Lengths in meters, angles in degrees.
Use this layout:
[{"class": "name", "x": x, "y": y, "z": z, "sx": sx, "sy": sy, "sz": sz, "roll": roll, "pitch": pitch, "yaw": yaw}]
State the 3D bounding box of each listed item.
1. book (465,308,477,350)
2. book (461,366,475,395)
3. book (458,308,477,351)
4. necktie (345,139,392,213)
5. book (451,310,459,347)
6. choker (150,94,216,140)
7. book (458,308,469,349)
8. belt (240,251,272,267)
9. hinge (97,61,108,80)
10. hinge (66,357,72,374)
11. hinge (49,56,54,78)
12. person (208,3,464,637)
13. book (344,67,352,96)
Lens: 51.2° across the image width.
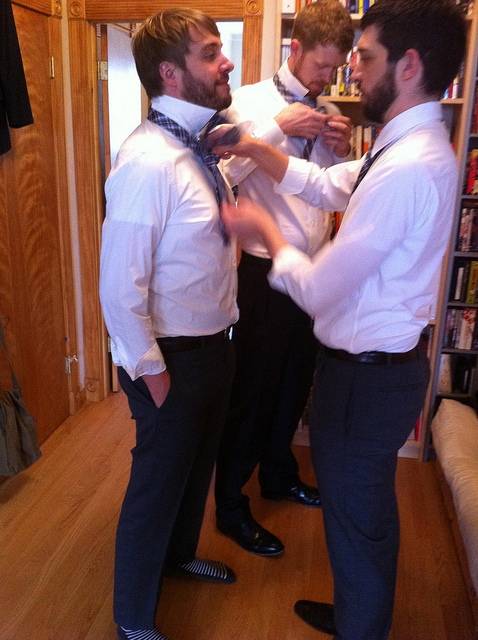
[{"class": "book", "x": 1.134, "y": 0.040, "z": 2.448, "sx": 0.037, "sy": 0.193, "sz": 0.031, "roll": 6, "pitch": 22, "yaw": 9}, {"class": "book", "x": 1.168, "y": 0.301, "z": 2.543, "sx": 0.036, "sy": 0.115, "sz": 0.114, "roll": 2, "pitch": 13, "yaw": 4}, {"class": "book", "x": 1.121, "y": 0.040, "z": 2.522, "sx": 0.137, "sy": 0.170, "sz": 0.152, "roll": 4, "pitch": 4, "yaw": 23}, {"class": "necktie", "x": 0.306, "y": -0.354, "z": 1.190, "sx": 0.079, "sy": 0.159, "sz": 0.245, "roll": 7, "pitch": 25, "yaw": 11}, {"class": "book", "x": 1.066, "y": 0.041, "z": 2.464, "sx": 0.026, "sy": 0.125, "sz": 0.113, "roll": 6, "pitch": -5, "yaw": 25}, {"class": "choker", "x": -0.137, "y": -0.502, "z": 1.232, "sx": 0.152, "sy": 0.097, "sz": 0.048, "roll": 1, "pitch": 22, "yaw": -4}, {"class": "book", "x": 1.103, "y": 0.043, "z": 2.454, "sx": 0.026, "sy": 0.137, "sz": 0.125, "roll": 5, "pitch": -9, "yaw": 17}, {"class": "belt", "x": 0.060, "y": -0.222, "z": 1.820, "sx": 0.111, "sy": 0.041, "sz": 0.024, "roll": 8, "pitch": 23, "yaw": 11}, {"class": "hinge", "x": -0.756, "y": -1.375, "z": 2.747, "sx": 0.057, "sy": 0.092, "sz": 0.028, "roll": -6, "pitch": 23, "yaw": -19}, {"class": "hinge", "x": -1.002, "y": 0.261, "z": 2.923, "sx": 0.034, "sy": 0.094, "sz": 0.021, "roll": -10, "pitch": 25, "yaw": -28}, {"class": "hinge", "x": -0.951, "y": -1.282, "z": 2.528, "sx": 0.010, "sy": 0.095, "sz": 0.035, "roll": 14, "pitch": 25, "yaw": 27}, {"class": "person", "x": 0.266, "y": 0.011, "z": 1.230, "sx": 0.505, "sy": 1.375, "sz": 0.300, "roll": 20, "pitch": 28, "yaw": 37}, {"class": "book", "x": 0.506, "y": -1.105, "z": 2.312, "sx": 0.027, "sy": 0.119, "sz": 0.078, "roll": 3, "pitch": 23, "yaw": 2}]
